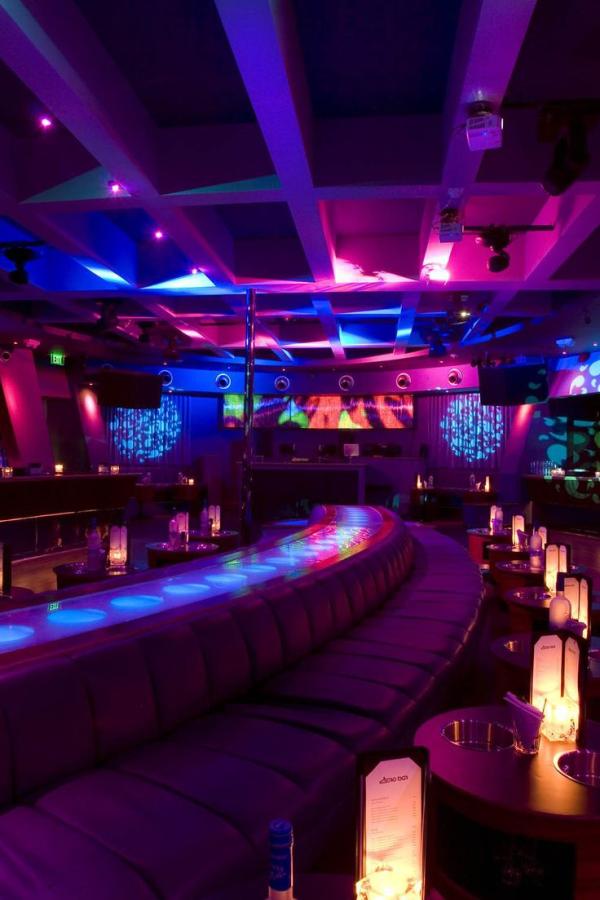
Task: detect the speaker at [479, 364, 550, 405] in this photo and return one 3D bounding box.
[{"bbox_3d":[3.449,-1.032,10.874,0.678,0.570,0.696,-3,-5,-6],"label":"speaker"}]

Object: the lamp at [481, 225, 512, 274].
[{"bbox_3d":[1.719,-1.748,5.968,0.237,0.304,1.135,5,4,15],"label":"lamp"}]

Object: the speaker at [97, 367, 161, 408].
[{"bbox_3d":[-3.055,-1.114,12.158,1.160,0.665,0.765,-2,11,-34],"label":"speaker"}]

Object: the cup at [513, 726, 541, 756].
[{"bbox_3d":[0.649,0.827,1.929,0.064,0.080,0.066,4,4,0],"label":"cup"}]

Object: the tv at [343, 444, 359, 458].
[{"bbox_3d":[1.088,0.013,14.272,0.329,0.302,0.318,4,4,3],"label":"tv"}]

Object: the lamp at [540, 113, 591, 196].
[{"bbox_3d":[1.477,-1.603,3.820,0.160,0.213,0.503,0,-32,10],"label":"lamp"}]
